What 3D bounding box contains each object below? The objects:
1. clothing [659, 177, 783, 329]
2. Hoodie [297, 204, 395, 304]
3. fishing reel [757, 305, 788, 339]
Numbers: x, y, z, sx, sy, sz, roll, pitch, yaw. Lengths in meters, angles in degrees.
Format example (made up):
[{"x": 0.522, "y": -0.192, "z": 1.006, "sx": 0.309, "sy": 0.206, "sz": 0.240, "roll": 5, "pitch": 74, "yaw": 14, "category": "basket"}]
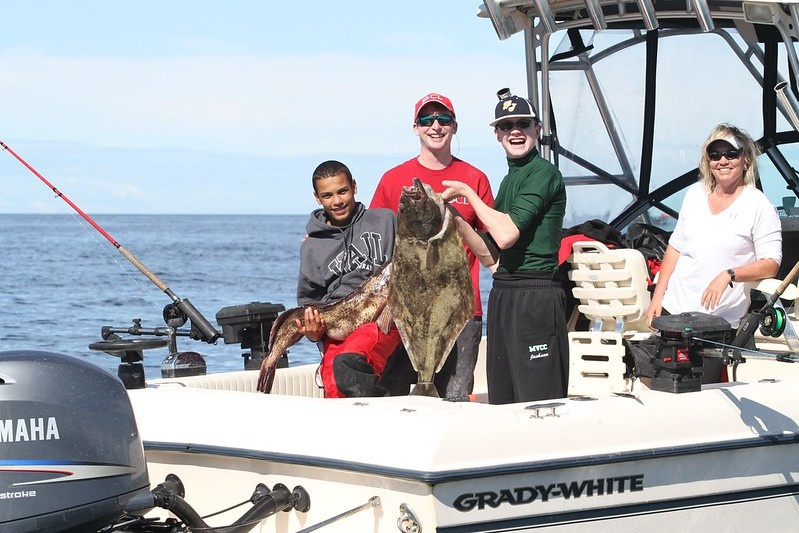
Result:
[{"x": 2.108, "y": -0.064, "z": 8.022, "sx": 0.536, "sy": 0.980, "sz": 0.876, "roll": 4, "pitch": 9, "yaw": -44, "category": "clothing"}, {"x": -0.372, "y": -0.098, "z": 8.250, "sx": 0.541, "sy": 0.295, "sz": 0.690, "roll": 14, "pitch": 1, "yaw": 41, "category": "Hoodie"}, {"x": 2.302, "y": 0.330, "z": 7.458, "sx": 0.179, "sy": 0.171, "sz": 0.169, "roll": 5, "pitch": -7, "yaw": -27, "category": "fishing reel"}]
